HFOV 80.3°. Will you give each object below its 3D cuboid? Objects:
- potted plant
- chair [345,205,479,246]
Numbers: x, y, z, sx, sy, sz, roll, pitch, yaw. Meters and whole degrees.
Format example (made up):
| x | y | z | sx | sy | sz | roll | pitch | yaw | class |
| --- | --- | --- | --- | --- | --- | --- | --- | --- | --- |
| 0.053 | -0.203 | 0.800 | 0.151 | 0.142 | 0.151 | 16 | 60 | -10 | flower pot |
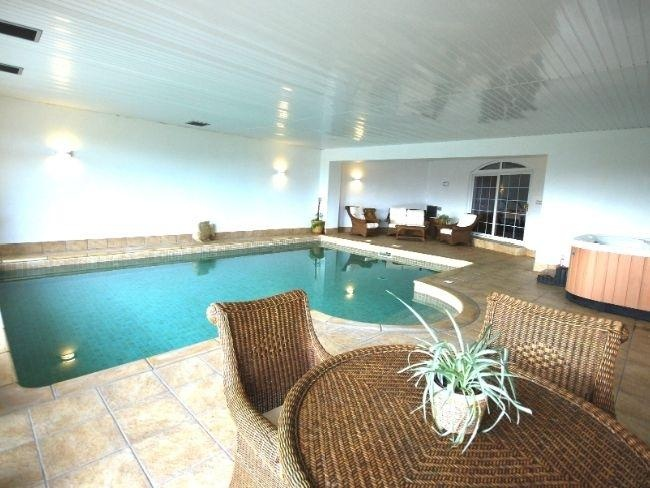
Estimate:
| x | y | z | sx | sy | sz | roll | pitch | yaw | class |
| --- | --- | --- | --- | --- | --- | --- | --- | --- | --- |
| 0.554 | 0.615 | 1.717 | 0.553 | 0.345 | 0.490 | 6 | -1 | 20 | potted plant |
| 2.613 | -0.643 | 11.912 | 3.799 | 0.882 | 1.884 | 5 | 10 | 17 | chair |
